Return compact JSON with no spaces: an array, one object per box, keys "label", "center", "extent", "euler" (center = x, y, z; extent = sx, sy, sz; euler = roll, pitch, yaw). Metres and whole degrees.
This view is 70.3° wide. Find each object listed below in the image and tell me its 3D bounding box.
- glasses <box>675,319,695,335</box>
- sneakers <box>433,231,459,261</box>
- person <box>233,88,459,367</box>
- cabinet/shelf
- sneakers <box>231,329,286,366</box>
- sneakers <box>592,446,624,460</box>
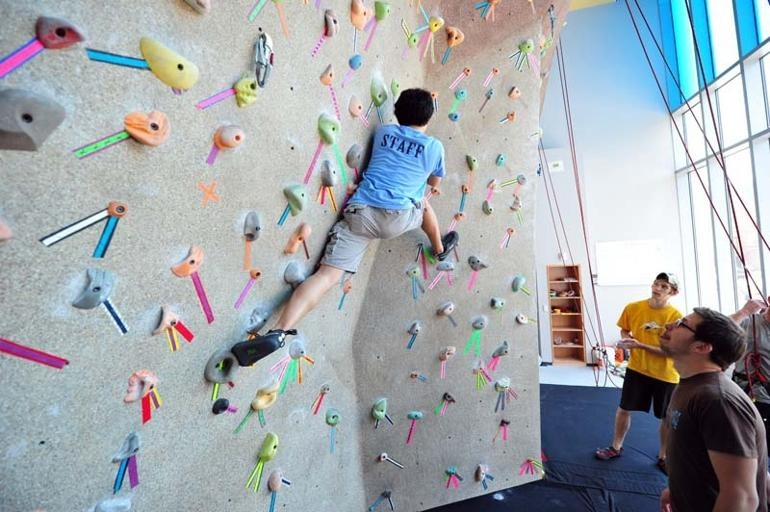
[{"label":"glasses","center":[1.651,0.385,2.993],"extent":[0.068,0.023,0.068],"euler":[33,7,7]},{"label":"sneakers","center":[0.462,-0.086,3.918],"extent":[0.095,0.286,0.110],"euler":[31,-1,16]},{"label":"person","center":[-0.072,-0.226,3.224],"extent":[0.715,2.061,1.148],"euler":[29,-39,3]},{"label":"cabinet/shelf","center":[2.949,0.949,8.948],"extent":[0.477,1.619,0.400],"euler":[-4,4,11]},{"label":"sneakers","center":[-0.635,0.447,2.738],"extent":[0.249,0.136,0.076],"euler":[-27,16,-9]},{"label":"sneakers","center":[1.998,1.738,4.857],"extent":[0.269,0.129,0.102],"euler":[2,1,-5]}]
